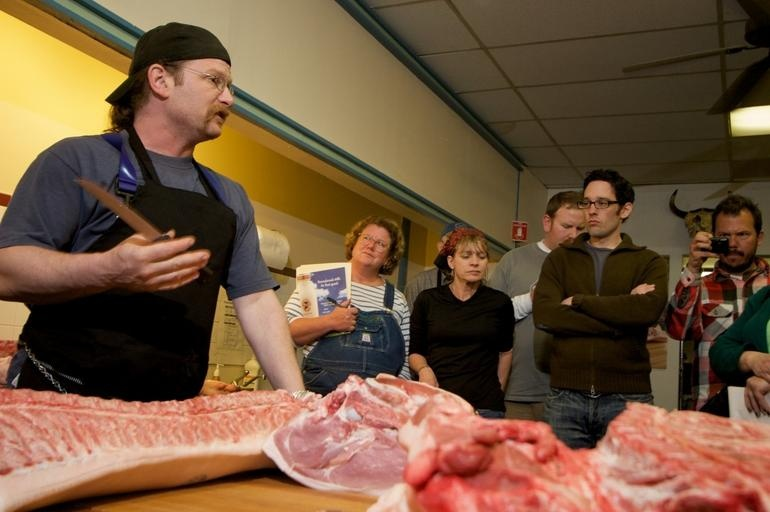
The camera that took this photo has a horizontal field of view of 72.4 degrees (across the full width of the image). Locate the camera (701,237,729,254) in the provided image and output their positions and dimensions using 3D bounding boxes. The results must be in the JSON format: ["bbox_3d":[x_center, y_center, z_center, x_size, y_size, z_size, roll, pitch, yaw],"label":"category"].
[{"bbox_3d":[1.824,-0.058,2.915,0.085,0.058,0.047,-3,-16,24],"label":"camera"}]

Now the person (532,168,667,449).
[{"bbox_3d":[1.184,0.565,2.882,0.668,1.995,0.582,1,1,33],"label":"person"}]

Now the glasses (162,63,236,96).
[{"bbox_3d":[-0.572,-0.553,1.609,0.105,0.028,0.103,26,8,21],"label":"glasses"}]

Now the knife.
[{"bbox_3d":[-0.519,-0.012,1.370,0.082,0.078,0.560,-14,-38,28],"label":"knife"}]

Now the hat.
[{"bbox_3d":[-0.659,-0.637,1.709,0.329,0.197,0.243,-9,-2,4],"label":"hat"}]

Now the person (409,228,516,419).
[{"bbox_3d":[0.437,0.334,3.012,0.590,0.754,0.611,5,-2,13],"label":"person"}]
